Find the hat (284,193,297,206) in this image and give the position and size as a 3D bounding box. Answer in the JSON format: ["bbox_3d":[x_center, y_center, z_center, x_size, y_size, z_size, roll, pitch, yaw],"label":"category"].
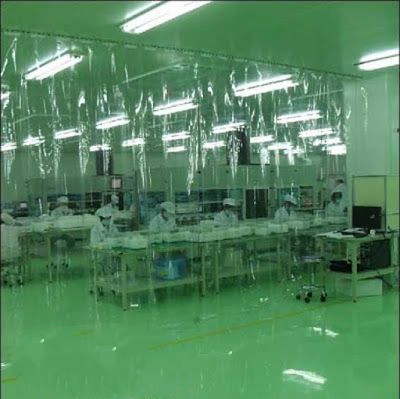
[{"bbox_3d":[1.238,0.003,6.165,0.110,0.064,0.152,4,18,-3],"label":"hat"}]

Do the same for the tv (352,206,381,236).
[{"bbox_3d":[2.309,0.294,6.234,0.306,0.331,0.117,3,6,41],"label":"tv"}]

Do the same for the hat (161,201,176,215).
[{"bbox_3d":[-0.369,0.105,5.317,0.143,0.160,0.118,0,11,-7],"label":"hat"}]

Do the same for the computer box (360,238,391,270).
[{"bbox_3d":[2.465,0.771,6.319,0.360,0.446,0.229,0,0,-15],"label":"computer box"}]

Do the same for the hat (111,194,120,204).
[{"bbox_3d":[-0.914,0.005,4.877,0.079,0.100,0.071,-2,6,-7],"label":"hat"}]

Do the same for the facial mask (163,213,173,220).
[{"bbox_3d":[-0.377,0.203,5.332,0.062,0.067,0.075,6,-3,-33],"label":"facial mask"}]
